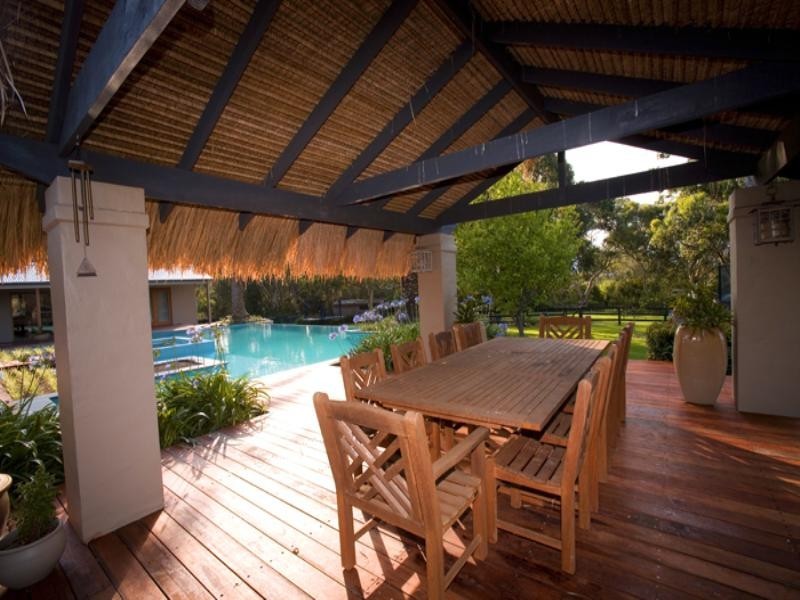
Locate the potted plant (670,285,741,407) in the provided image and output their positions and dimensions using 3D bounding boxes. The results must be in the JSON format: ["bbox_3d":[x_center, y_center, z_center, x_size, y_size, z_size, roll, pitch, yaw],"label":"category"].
[{"bbox_3d":[3.541,0.550,5.902,0.590,1.084,0.356,-5,1,33],"label":"potted plant"}]
